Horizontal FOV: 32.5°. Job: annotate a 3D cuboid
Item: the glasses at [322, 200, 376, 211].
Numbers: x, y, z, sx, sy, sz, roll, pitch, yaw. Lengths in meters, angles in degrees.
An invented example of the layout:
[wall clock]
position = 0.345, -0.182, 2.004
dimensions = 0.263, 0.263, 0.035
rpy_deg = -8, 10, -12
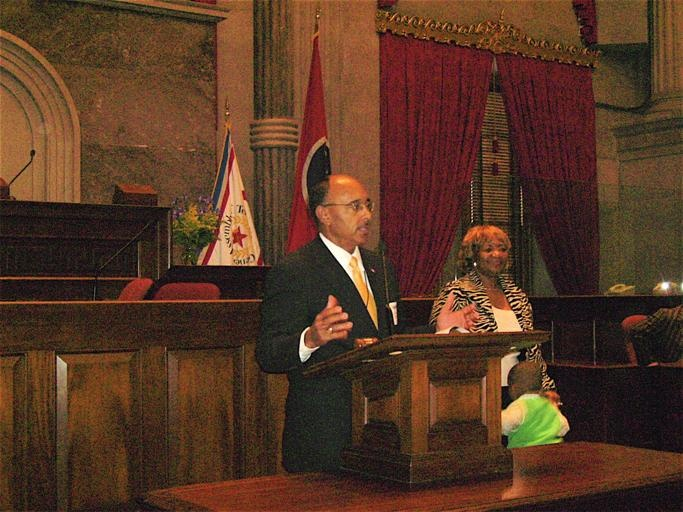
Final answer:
[glasses]
position = 0.066, -0.327, 7.403
dimensions = 0.146, 0.041, 0.142
rpy_deg = -8, -8, 36

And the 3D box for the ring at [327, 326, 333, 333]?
[ring]
position = -0.069, 0.414, 6.687
dimensions = 0.028, 0.030, 0.012
rpy_deg = -2, -10, 0

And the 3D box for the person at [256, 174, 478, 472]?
[person]
position = -0.123, 0.375, 7.204
dimensions = 0.785, 1.861, 0.914
rpy_deg = -5, -10, 14

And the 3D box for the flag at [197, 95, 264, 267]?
[flag]
position = -1.082, -0.592, 11.100
dimensions = 0.596, 1.364, 0.259
rpy_deg = -1, -10, -4
